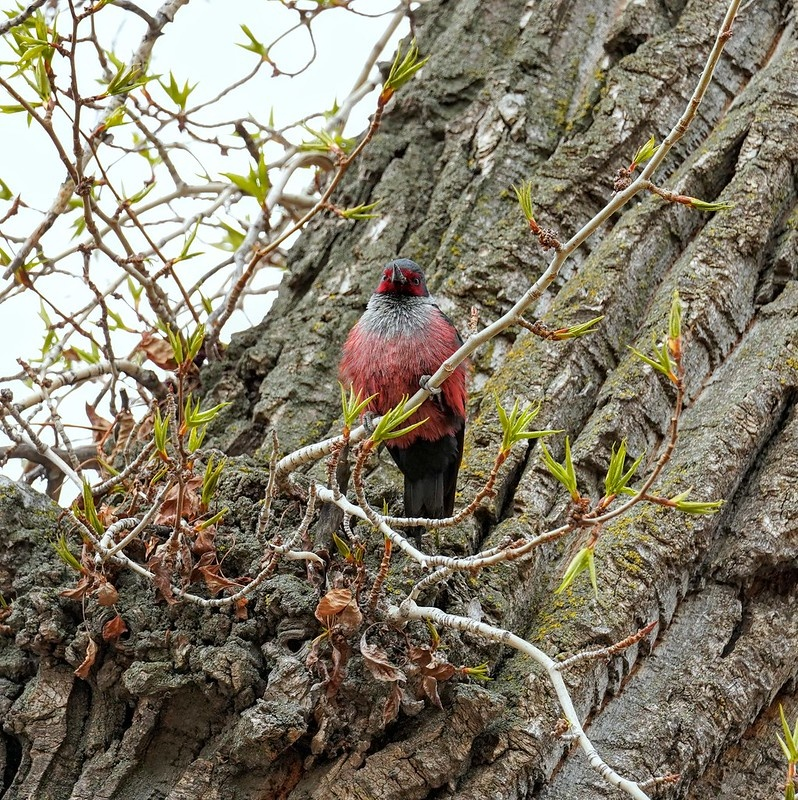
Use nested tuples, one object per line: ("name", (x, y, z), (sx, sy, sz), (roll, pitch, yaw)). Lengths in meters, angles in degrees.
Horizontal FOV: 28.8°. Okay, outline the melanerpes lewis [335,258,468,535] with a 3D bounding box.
("melanerpes lewis", (0.018, 0.014, 5.799), (0.374, 0.955, 0.888), (-3, -58, 6))
